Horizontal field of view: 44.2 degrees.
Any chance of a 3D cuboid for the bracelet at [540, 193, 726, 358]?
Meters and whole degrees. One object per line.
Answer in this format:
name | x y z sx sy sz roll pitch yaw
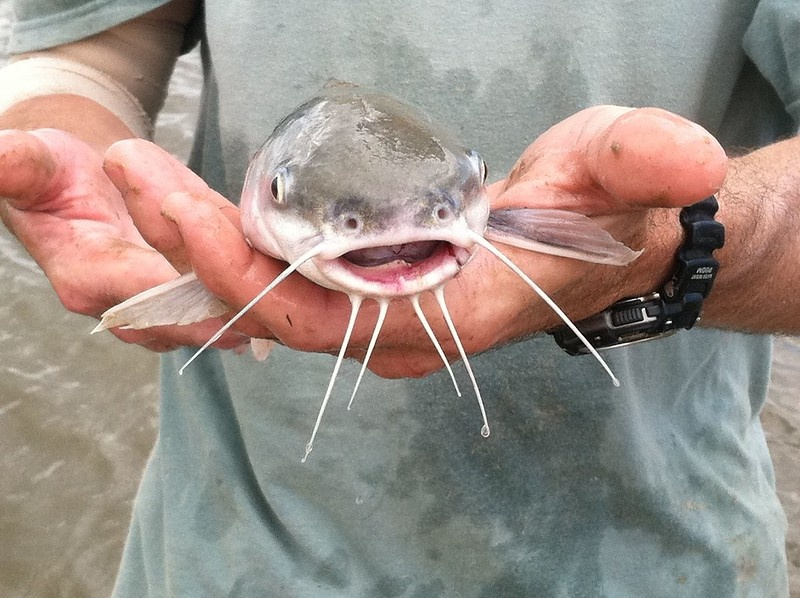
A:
bracelet | 0.702 -0.062 2.765 0.496 0.153 0.336 -18 22 9
